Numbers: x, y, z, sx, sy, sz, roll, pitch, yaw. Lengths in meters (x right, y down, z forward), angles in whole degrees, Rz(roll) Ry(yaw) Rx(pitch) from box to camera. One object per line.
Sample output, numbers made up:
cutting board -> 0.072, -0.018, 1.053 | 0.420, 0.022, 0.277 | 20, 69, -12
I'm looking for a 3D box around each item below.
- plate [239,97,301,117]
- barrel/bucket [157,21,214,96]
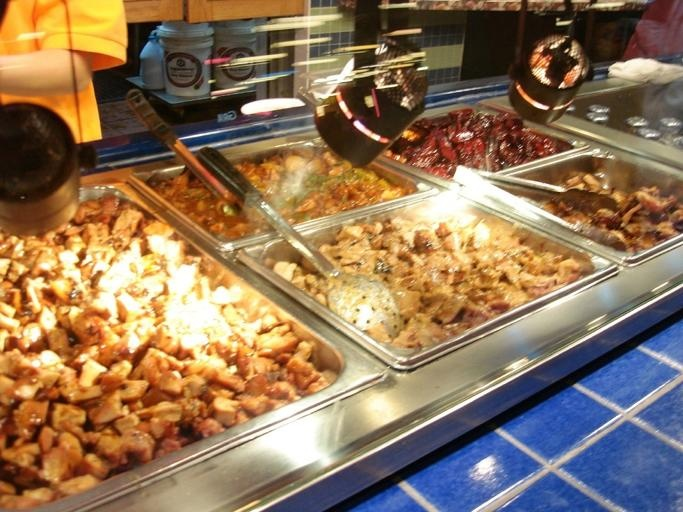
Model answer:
plate -> -0.207, -0.445, 1.483 | 0.181, 0.069, 0.115 | -5, 34, -9
barrel/bucket -> -0.734, -0.945, 2.377 | 0.269, 0.333, 0.274 | 1, 38, -1
